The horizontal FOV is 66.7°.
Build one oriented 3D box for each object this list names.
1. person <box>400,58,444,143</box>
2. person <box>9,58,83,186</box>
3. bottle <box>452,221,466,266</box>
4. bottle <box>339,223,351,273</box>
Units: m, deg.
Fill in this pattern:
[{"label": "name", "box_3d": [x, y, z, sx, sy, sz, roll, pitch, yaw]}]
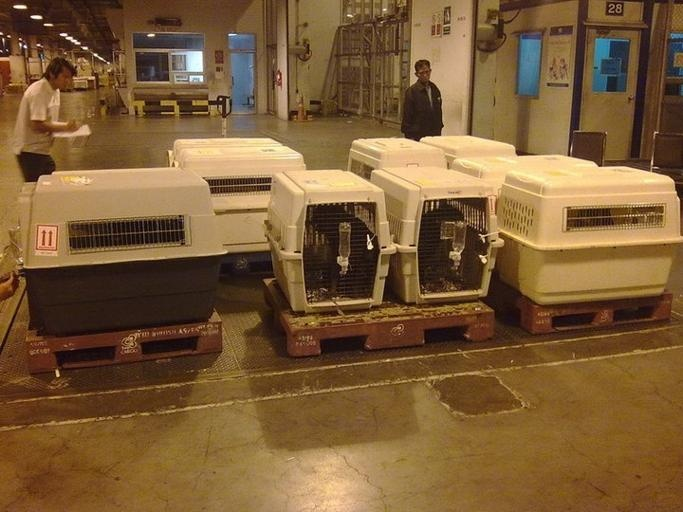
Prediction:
[{"label": "person", "box_3d": [1.145, -2.186, 7.283, 0.625, 1.071, 0.407, -4, 20, -13]}, {"label": "person", "box_3d": [-3.103, -1.371, 5.451, 0.700, 1.365, 1.809, -11, 23, -29]}, {"label": "bottle", "box_3d": [0.913, -0.080, 4.083, 0.113, 0.403, 0.223, 6, 20, 15]}, {"label": "bottle", "box_3d": [0.018, -0.047, 3.844, 0.082, 0.408, 0.105, 4, 20, 11]}]
